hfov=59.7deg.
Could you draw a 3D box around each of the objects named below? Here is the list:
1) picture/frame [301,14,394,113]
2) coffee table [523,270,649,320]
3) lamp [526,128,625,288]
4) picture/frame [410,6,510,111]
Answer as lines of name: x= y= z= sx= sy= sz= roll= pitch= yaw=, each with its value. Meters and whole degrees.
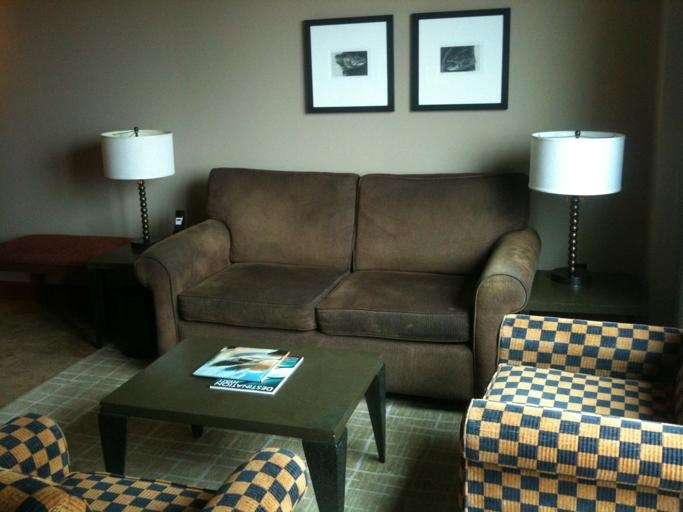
picture/frame: x=0.059 y=-1.281 z=3.872 sx=0.670 sy=0.637 sz=0.029 roll=2 pitch=18 yaw=15
coffee table: x=1.341 y=0.199 z=3.251 sx=0.454 sy=0.327 sz=0.433 roll=2 pitch=12 yaw=13
lamp: x=1.271 y=-0.272 z=3.320 sx=0.461 sy=0.838 sz=0.566 roll=4 pitch=16 yaw=19
picture/frame: x=0.748 y=-1.251 z=3.675 sx=0.664 sy=0.633 sz=0.049 roll=1 pitch=11 yaw=12
